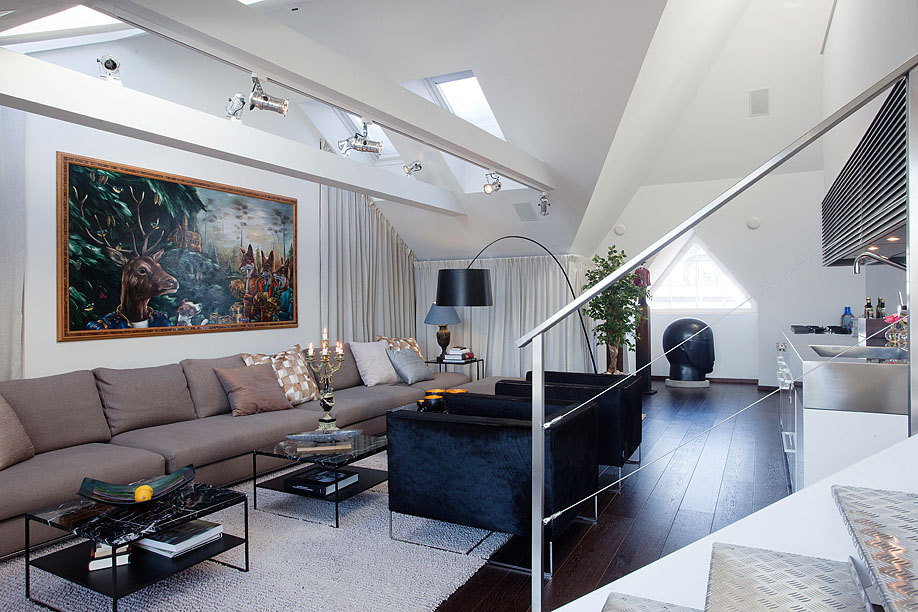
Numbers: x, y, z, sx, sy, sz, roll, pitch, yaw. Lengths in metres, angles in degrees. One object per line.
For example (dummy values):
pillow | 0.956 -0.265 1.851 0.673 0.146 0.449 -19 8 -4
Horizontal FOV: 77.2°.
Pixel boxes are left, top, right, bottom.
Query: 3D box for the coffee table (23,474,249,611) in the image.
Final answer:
coffee table | -1.833 1.311 3.399 0.812 0.438 0.853 3 2 31

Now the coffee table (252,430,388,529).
coffee table | -0.983 1.220 4.420 0.678 0.399 0.781 1 0 29

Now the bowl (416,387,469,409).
bowl | -0.198 0.798 5.036 0.277 0.145 0.403 -2 -1 29

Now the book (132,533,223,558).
book | -1.675 1.395 3.356 0.261 0.060 0.257 -1 -3 21

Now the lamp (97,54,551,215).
lamp | -1.295 -1.608 5.282 3.640 0.439 0.523 19 0 -5

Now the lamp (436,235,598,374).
lamp | 0.770 -0.022 7.219 1.785 1.772 1.677 0 6 11

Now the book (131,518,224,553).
book | -1.664 1.339 3.347 0.282 0.067 0.281 3 2 22
